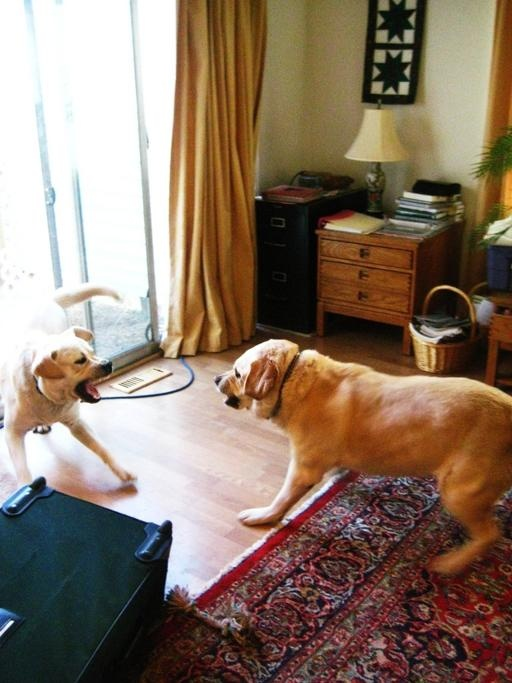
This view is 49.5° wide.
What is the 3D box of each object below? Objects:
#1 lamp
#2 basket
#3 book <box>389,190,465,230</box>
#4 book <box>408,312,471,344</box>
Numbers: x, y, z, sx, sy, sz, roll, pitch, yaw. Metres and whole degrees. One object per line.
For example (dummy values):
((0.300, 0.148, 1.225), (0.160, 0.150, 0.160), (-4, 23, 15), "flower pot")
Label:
((0.766, -1.115, 3.426), (0.351, 0.650, 0.466), (6, 23, 22), "lamp")
((1.040, -0.085, 3.035), (0.367, 0.453, 0.388), (10, 20, 28), "basket")
((1.044, -0.782, 3.275), (0.264, 0.108, 0.342), (16, 28, 35), "book")
((0.983, -0.073, 2.980), (0.196, 0.070, 0.197), (-15, 19, -36), "book")
